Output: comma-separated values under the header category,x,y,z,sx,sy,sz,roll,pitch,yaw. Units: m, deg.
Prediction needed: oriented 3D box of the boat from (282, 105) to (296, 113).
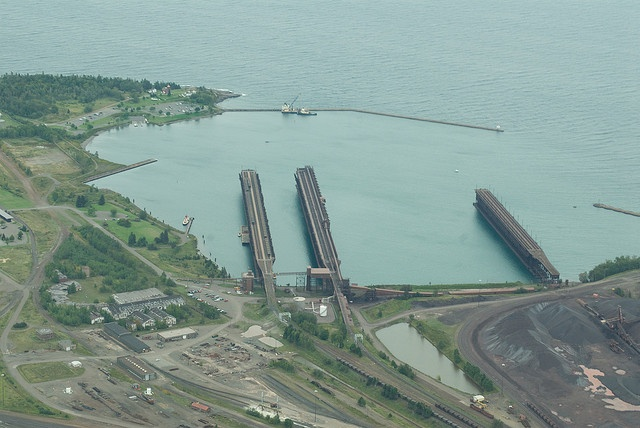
category,x,y,z,sx,sy,sz,roll,pitch,yaw
boat,-16.033,-51.833,679.568,7.190,3.224,4.003,12,28,18

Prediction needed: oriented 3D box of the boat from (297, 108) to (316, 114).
category,x,y,z,sx,sy,sz,roll,pitch,yaw
boat,-7.165,-50.170,677.682,6.963,1.933,3.555,3,11,5
